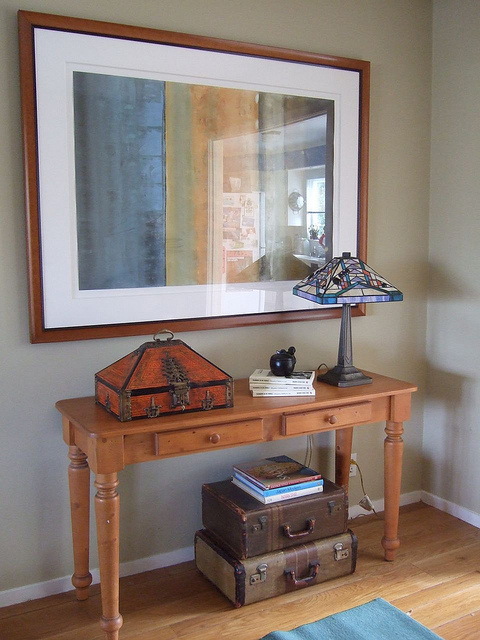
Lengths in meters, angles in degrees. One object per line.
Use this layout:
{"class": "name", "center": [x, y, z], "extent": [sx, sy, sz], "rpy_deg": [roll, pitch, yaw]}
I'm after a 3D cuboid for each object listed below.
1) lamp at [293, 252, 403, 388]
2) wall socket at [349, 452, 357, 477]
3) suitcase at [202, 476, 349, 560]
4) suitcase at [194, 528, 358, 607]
{"class": "lamp", "center": [0.417, 0.002, 2.391], "extent": [0.332, 0.524, 0.267], "rpy_deg": [-2, 7, -16]}
{"class": "wall socket", "center": [0.538, 0.696, 2.903], "extent": [0.019, 0.117, 0.078], "rpy_deg": [3, 7, 30]}
{"class": "suitcase", "center": [0.131, 0.748, 2.383], "extent": [0.459, 0.182, 0.360], "rpy_deg": [-3, 7, -28]}
{"class": "suitcase", "center": [0.163, 0.903, 2.398], "extent": [0.521, 0.148, 0.376], "rpy_deg": [-4, 9, -32]}
